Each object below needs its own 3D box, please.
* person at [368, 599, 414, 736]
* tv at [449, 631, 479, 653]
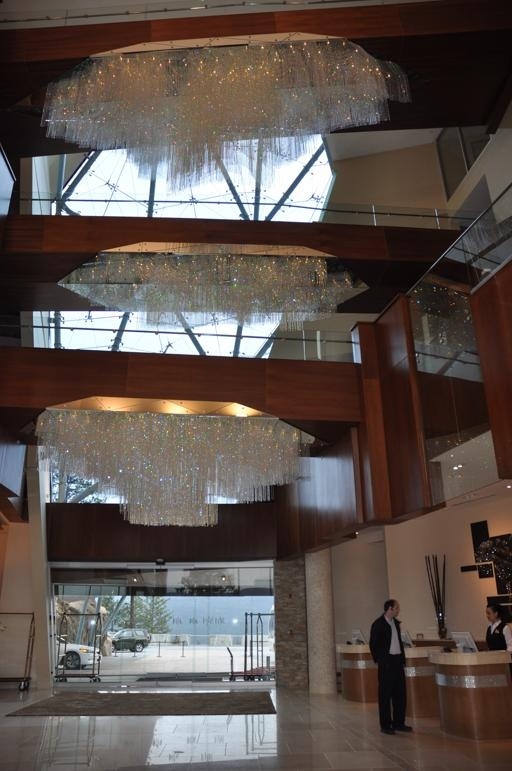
[{"bbox_3d":[1.312,2.746,5.436,0.311,1.194,0.486,-6,-17,13],"label":"person"},{"bbox_3d":[1.995,2.464,5.275,0.173,0.195,0.755,-7,-18,15],"label":"tv"}]
